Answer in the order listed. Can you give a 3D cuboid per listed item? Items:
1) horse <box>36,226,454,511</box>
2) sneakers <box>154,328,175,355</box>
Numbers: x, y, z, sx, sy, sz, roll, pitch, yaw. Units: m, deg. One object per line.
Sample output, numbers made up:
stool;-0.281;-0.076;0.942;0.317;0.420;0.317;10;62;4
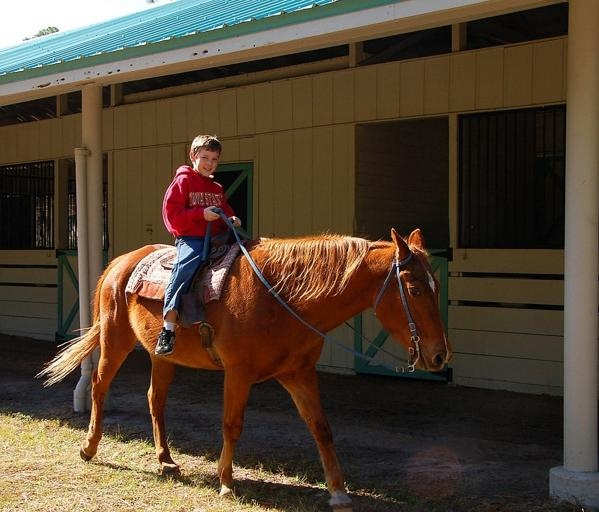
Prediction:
horse;-0.321;0.686;5.127;2.750;1.756;0.701;3;4;36
sneakers;-0.868;0.562;5.038;0.071;0.115;0.239;3;28;-1
